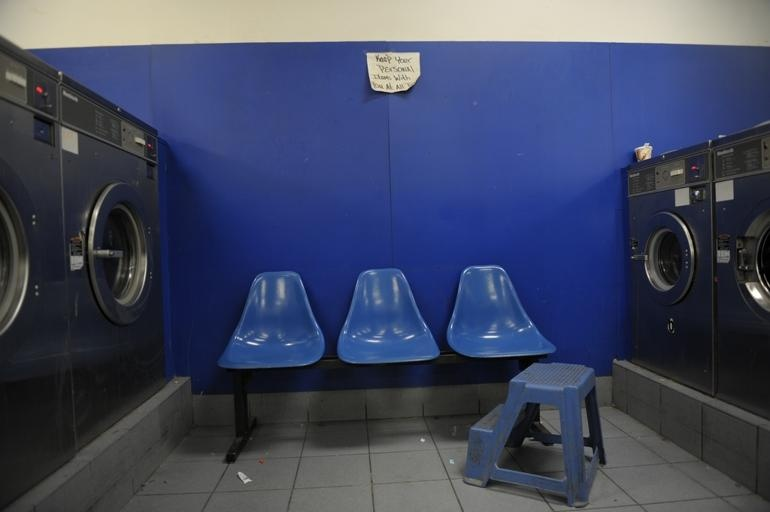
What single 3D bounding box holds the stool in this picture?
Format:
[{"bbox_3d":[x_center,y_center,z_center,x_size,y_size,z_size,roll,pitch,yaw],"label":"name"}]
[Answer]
[{"bbox_3d":[0.974,0.990,3.323,0.768,0.730,0.810,0,-1,25],"label":"stool"}]
